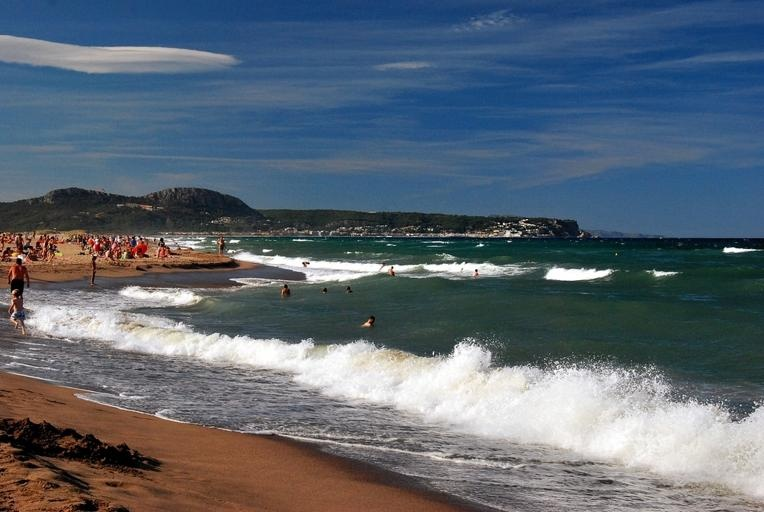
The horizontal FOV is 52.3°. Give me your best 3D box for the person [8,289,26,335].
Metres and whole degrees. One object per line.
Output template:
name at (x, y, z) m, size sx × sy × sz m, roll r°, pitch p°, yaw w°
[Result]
person at (-10.570, 1.565, 22.591) m, size 0.398 × 1.268 × 1.099 m, roll 0°, pitch 7°, yaw -24°
